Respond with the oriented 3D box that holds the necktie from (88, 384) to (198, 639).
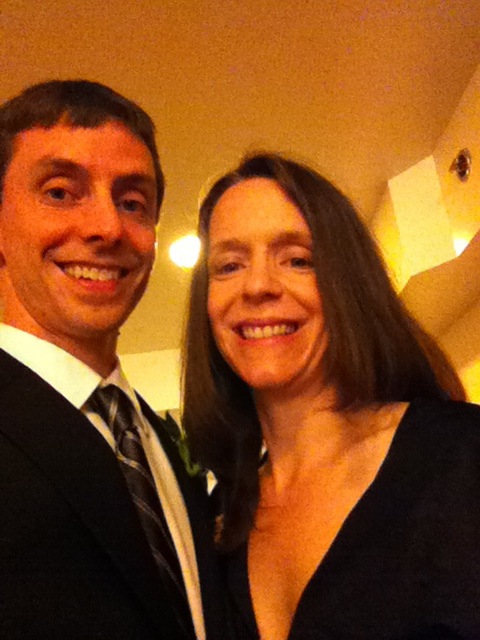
[{"bbox_3d":[-0.327,0.347,1.840,0.154,1.097,0.116,32,-70,-36],"label":"necktie"}]
